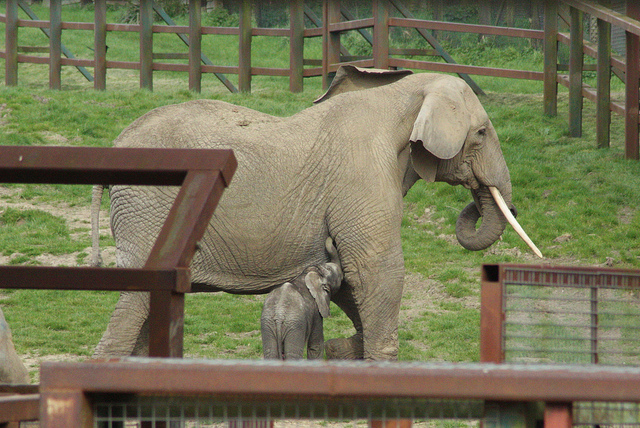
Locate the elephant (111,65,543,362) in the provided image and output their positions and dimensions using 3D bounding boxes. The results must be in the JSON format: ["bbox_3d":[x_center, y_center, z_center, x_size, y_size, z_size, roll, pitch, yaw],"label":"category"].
[{"bbox_3d":[1.264,-0.820,36.003,10.077,6.736,3.969,-1,7,-2],"label":"elephant"}]

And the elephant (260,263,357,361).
[{"bbox_3d":[-0.347,1.849,32.725,1.495,1.729,0.738,-3,11,-13],"label":"elephant"}]

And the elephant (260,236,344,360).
[{"bbox_3d":[-0.318,1.614,32.728,1.577,2.188,0.781,-4,11,-16],"label":"elephant"}]
